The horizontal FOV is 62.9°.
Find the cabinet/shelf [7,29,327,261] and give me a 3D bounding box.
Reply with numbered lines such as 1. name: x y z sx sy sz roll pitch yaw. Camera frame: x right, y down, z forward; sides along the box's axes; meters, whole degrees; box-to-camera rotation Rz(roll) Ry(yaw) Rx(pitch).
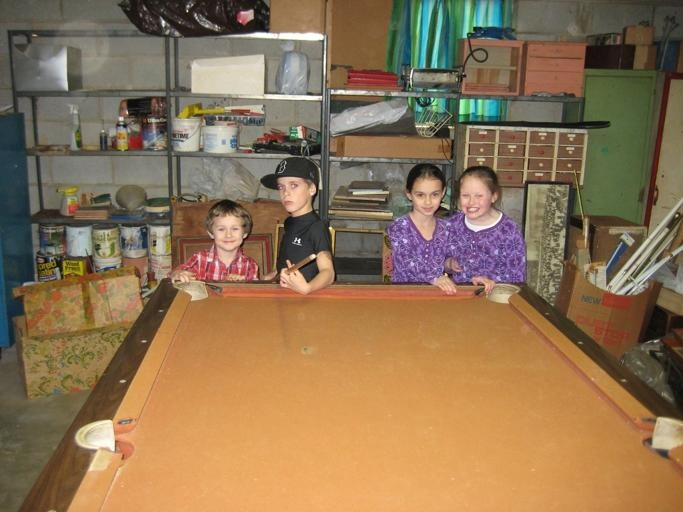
1. cabinet/shelf: -1.322 -0.866 4.166 1.923 1.613 0.480 -1 14 -1

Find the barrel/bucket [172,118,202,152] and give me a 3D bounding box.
1. barrel/bucket: -1.200 -0.909 4.220 0.286 0.247 0.266 -1 13 0

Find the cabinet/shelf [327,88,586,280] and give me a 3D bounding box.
1. cabinet/shelf: 0.832 -0.533 3.892 1.638 1.403 0.480 -1 9 -4

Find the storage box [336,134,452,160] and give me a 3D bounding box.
1. storage box: 0.386 -0.809 4.191 0.895 0.191 0.115 0 16 2

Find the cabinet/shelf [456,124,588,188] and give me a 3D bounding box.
1. cabinet/shelf: 1.373 -0.766 4.383 0.981 0.464 0.343 -1 10 -12

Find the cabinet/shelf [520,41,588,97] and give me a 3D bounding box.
1. cabinet/shelf: 1.724 -1.446 4.342 0.482 0.431 0.281 18 35 38

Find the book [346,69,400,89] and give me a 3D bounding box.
1. book: 0.231 -1.295 4.126 0.369 0.135 0.108 -1 15 0

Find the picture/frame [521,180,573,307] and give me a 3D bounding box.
1. picture/frame: 1.606 -0.189 4.361 0.346 0.985 0.044 -2 46 15

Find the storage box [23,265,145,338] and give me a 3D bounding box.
1. storage box: -1.534 0.257 3.416 0.665 0.189 0.397 -10 26 -16

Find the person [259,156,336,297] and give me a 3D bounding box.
1. person: -0.206 -0.160 2.649 0.316 0.585 1.289 -3 15 -7

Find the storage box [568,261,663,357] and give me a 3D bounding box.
1. storage box: 1.652 0.322 3.444 0.446 0.489 0.472 -17 28 -33

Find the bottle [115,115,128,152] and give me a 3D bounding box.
1. bottle: -1.678 -0.934 4.272 0.102 0.252 0.262 -7 16 -20

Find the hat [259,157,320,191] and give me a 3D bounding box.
1. hat: -0.239 -0.415 2.743 0.297 0.153 0.215 -8 4 -38

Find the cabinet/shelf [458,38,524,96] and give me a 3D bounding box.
1. cabinet/shelf: 1.141 -1.432 4.331 0.481 0.385 0.253 3 18 8
